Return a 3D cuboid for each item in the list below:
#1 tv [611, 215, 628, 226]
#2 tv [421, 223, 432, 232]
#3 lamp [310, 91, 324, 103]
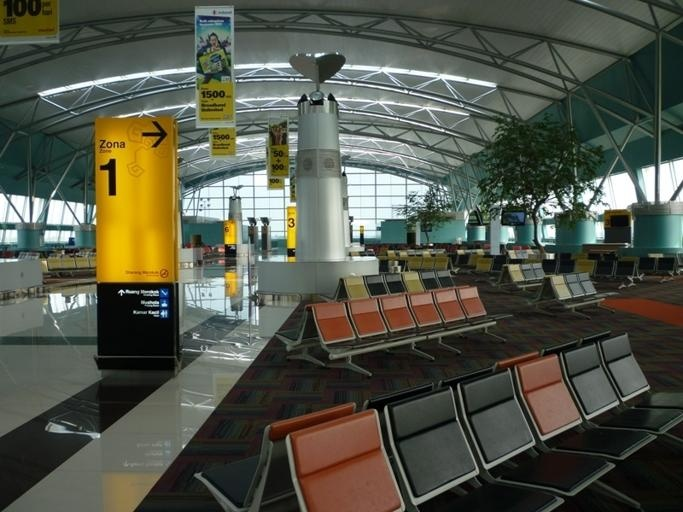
[{"bbox_3d":[13.154,-1.690,21.718,0.095,0.382,0.653,3,-2,-42],"label":"tv"},{"bbox_3d":[7.420,-2.501,40.598,1.231,0.518,0.810,3,-1,-40],"label":"tv"},{"bbox_3d":[-0.589,-4.102,11.940,0.352,0.345,0.197,2,7,13],"label":"lamp"}]
